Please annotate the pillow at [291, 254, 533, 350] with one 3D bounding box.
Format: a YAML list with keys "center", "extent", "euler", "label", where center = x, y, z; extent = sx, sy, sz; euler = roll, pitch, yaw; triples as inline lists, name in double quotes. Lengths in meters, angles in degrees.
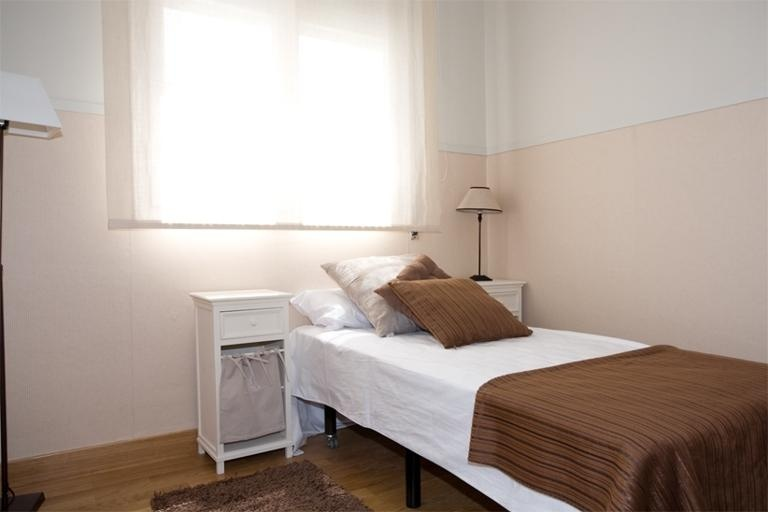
- center: [0.209, 0.270, 3.509]
  extent: [0.802, 0.281, 0.909]
  euler: [2, 16, -37]
  label: "pillow"

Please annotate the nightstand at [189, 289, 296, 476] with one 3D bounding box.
- center: [-0.948, 0.779, 3.518]
  extent: [0.646, 1.084, 0.644]
  euler: [-4, 11, -21]
  label: "nightstand"
